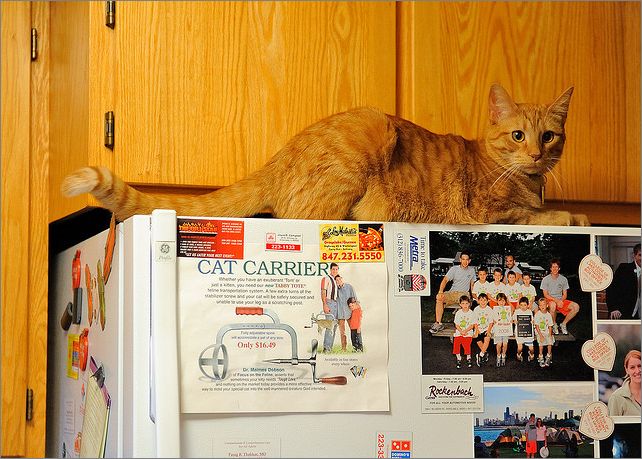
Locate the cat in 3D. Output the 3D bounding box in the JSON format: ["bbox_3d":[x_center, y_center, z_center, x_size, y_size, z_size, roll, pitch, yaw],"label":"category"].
[{"bbox_3d":[0.079,-0.165,2.100,1.130,0.355,0.249,-2,2,-5],"label":"cat"}]
